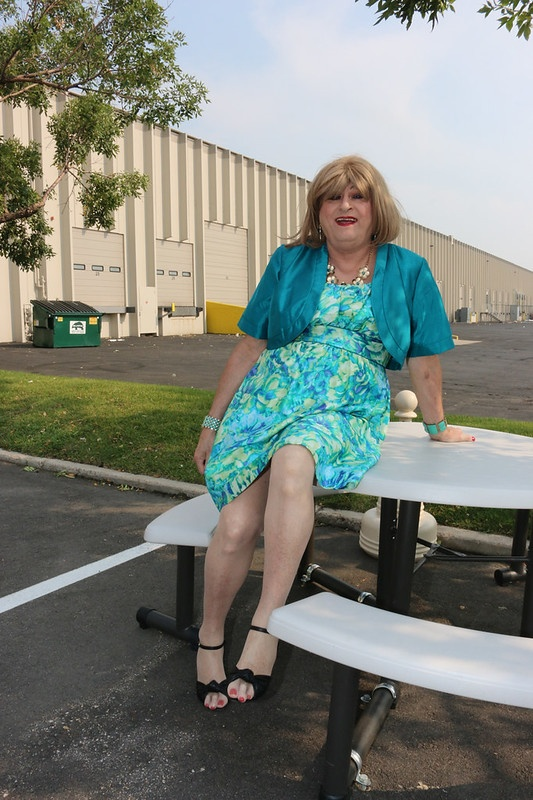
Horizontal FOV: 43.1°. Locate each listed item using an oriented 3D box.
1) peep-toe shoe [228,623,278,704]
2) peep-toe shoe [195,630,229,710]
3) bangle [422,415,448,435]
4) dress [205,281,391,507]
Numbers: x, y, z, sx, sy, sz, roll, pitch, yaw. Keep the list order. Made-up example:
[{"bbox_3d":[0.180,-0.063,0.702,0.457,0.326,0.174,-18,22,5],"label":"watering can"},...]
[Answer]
[{"bbox_3d":[-0.028,0.770,2.031,0.107,0.242,0.052,3,-10,17],"label":"peep-toe shoe"},{"bbox_3d":[-0.170,0.854,2.108,0.084,0.099,0.243,0,10,-5],"label":"peep-toe shoe"},{"bbox_3d":[0.642,0.094,2.578,0.064,0.032,0.063,-7,6,1],"label":"bangle"},{"bbox_3d":[0.100,-0.026,2.280,0.566,0.745,0.632,3,8,14],"label":"dress"}]
